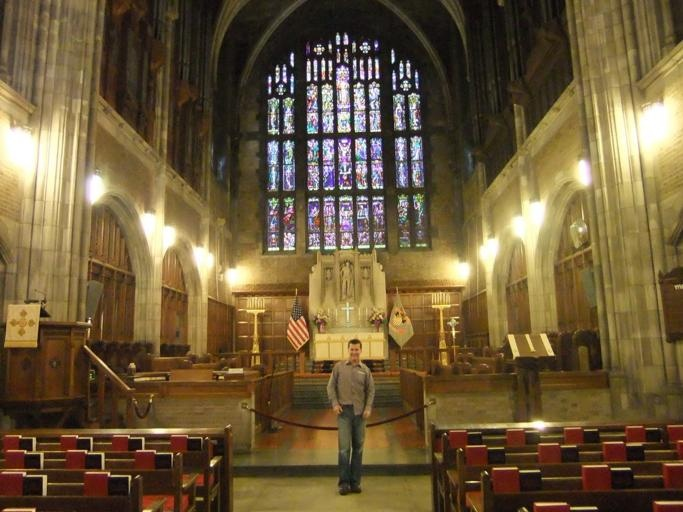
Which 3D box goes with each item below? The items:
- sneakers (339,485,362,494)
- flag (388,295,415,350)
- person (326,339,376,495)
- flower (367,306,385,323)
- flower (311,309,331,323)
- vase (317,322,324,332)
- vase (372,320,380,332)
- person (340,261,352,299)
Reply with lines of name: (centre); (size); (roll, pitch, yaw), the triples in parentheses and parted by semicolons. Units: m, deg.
sneakers: (0.105, 3.235, 8.742); (0.337, 0.159, 0.125); (0, -11, -3)
flag: (1.954, 2.122, 21.220); (0.800, 2.192, 0.095); (-2, 23, 12)
person: (0.136, 2.258, 8.920); (0.637, 2.127, 0.495); (-3, -14, 6)
flower: (1.177, 2.014, 21.366); (0.567, 0.697, 0.949); (-2, -14, 2)
flower: (-0.659, 2.060, 21.076); (0.482, 0.528, 0.490); (2, -7, -10)
vase: (-0.687, 2.368, 20.965); (0.298, 0.427, 0.341); (0, -3, -2)
vase: (1.180, 2.383, 21.174); (0.297, 0.367, 0.560); (-2, -14, 2)
person: (0.187, 0.861, 22.098); (0.419, 1.411, 0.162); (-2, -13, 2)
